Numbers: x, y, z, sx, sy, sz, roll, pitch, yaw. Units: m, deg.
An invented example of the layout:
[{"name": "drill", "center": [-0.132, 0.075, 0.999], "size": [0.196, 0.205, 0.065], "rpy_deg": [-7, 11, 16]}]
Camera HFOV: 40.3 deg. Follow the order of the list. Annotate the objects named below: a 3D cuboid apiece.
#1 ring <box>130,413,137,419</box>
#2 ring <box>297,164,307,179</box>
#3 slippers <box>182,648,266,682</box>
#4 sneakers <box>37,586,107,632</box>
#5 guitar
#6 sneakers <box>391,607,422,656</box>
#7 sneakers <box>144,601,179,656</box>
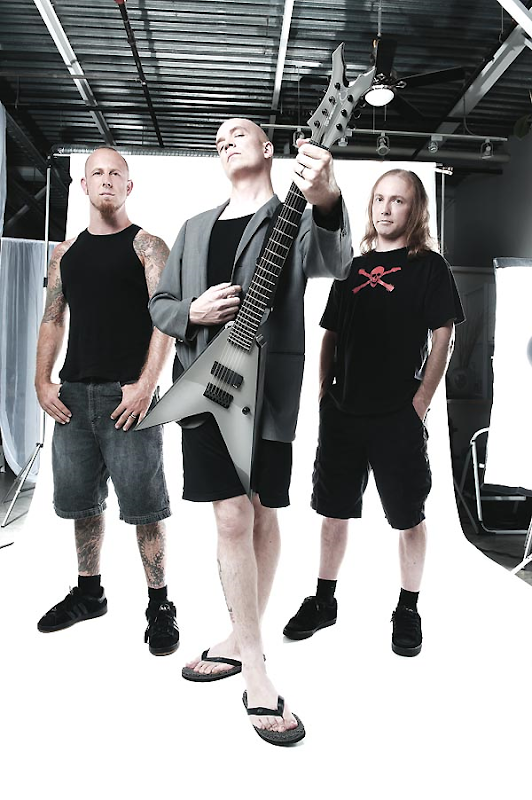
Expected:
[{"name": "ring", "center": [-0.434, 0.052, 2.381], "size": [0.013, 0.017, 0.004], "rpy_deg": [-24, 21, -36]}, {"name": "ring", "center": [0.086, -0.550, 1.737], "size": [0.021, 0.027, 0.011], "rpy_deg": [17, 26, 41]}, {"name": "slippers", "center": [-0.161, 0.801, 2.197], "size": [0.182, 0.045, 0.070], "rpy_deg": [4, -8, -31]}, {"name": "sneakers", "center": [-0.683, 0.749, 2.604], "size": [0.083, 0.105, 0.253], "rpy_deg": [0, 0, 42]}, {"name": "guitar", "center": [0.046, -0.348, 1.996], "size": [0.466, 1.340, 0.108], "rpy_deg": [27, -4, 10]}, {"name": "sneakers", "center": [0.474, 0.778, 2.437], "size": [0.103, 0.110, 0.160], "rpy_deg": [2, 8, 10]}, {"name": "sneakers", "center": [-0.348, 0.755, 2.368], "size": [0.072, 0.077, 0.203], "rpy_deg": [-1, 0, -5]}]
